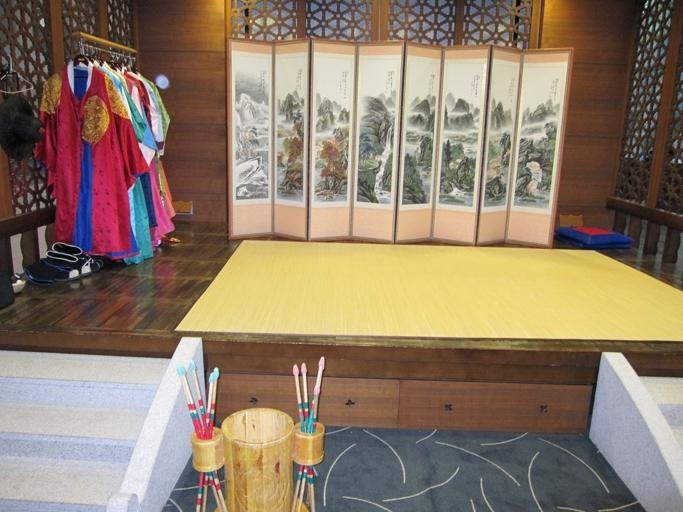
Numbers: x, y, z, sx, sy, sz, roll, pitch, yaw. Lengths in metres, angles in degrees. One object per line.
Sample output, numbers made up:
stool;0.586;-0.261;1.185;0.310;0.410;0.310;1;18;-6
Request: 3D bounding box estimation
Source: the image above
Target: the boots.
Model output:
boots;-2.209;0.079;3.906;0.311;0.150;0.445;14;19;35
